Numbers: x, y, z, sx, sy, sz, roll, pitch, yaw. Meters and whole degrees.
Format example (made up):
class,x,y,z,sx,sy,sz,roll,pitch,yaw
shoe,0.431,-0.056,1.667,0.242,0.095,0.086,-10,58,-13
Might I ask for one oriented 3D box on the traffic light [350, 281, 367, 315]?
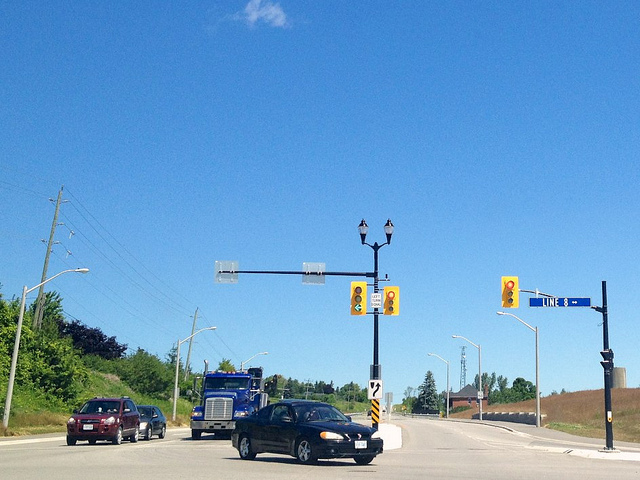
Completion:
class,x,y,z,sx,sy,sz,roll,pitch,yaw
traffic light,1.904,2.747,38.661,0.712,1.733,1.260,1,-17,3

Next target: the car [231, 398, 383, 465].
class,x,y,z,sx,sy,sz,roll,pitch,yaw
car,-0.670,7.849,31.786,5.880,2.567,1.855,-10,-21,31

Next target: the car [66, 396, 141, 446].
class,x,y,z,sx,sy,sz,roll,pitch,yaw
car,-11.091,9.451,40.635,2.621,2.692,5.163,-1,-13,3

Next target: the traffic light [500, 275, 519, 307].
class,x,y,z,sx,sy,sz,roll,pitch,yaw
traffic light,9.705,2.682,39.693,0.837,1.891,0.424,-4,-40,17

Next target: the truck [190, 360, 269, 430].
class,x,y,z,sx,sy,sz,roll,pitch,yaw
truck,-5.211,10.042,48.165,3.847,4.613,9.468,-1,-16,7
